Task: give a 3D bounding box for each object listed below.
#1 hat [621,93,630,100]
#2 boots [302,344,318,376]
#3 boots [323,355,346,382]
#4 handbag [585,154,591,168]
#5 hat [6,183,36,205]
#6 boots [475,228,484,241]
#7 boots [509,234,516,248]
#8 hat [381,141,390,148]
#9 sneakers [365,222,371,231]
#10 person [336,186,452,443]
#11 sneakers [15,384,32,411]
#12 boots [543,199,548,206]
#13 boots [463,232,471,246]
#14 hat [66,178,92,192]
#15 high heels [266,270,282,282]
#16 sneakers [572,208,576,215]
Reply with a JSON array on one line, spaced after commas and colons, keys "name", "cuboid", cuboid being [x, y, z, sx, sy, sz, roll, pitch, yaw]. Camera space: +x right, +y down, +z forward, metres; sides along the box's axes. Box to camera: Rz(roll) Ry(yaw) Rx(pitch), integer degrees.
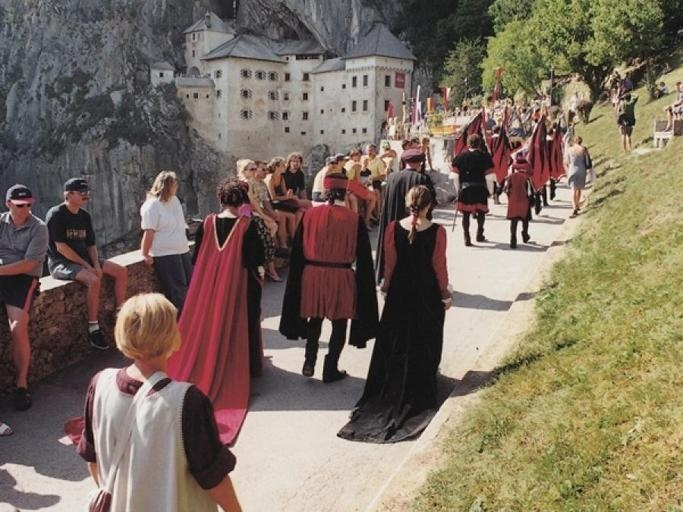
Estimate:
[{"name": "hat", "cuboid": [7.741, -4.366, 22.212, 0.226, 0.163, 0.386, 1, 11, 20]}, {"name": "boots", "cuboid": [-0.395, 1.279, 10.489, 0.143, 0.376, 0.470, 1, 4, 4]}, {"name": "boots", "cuboid": [-0.109, 1.411, 10.258, 0.163, 0.372, 0.387, 6, 13, 44]}, {"name": "handbag", "cuboid": [5.284, -2.031, 17.491, 0.093, 0.358, 0.953, 1, 11, 19]}, {"name": "hat", "cuboid": [-3.870, -0.718, 9.768, 0.303, 0.286, 0.631, -6, 11, -22]}, {"name": "boots", "cuboid": [2.680, -0.428, 15.795, 0.179, 0.253, 0.471, 0, 10, 10]}, {"name": "boots", "cuboid": [3.171, -0.273, 15.113, 0.122, 0.240, 0.272, 0, 10, 12]}, {"name": "hat", "cuboid": [0.907, -2.346, 17.051, 0.191, 0.133, 0.283, 0, 5, 4]}, {"name": "sneakers", "cuboid": [0.532, -0.577, 16.358, 0.101, 0.163, 0.334, -1, -2, -16]}, {"name": "person", "cuboid": [0.683, 0.613, 9.391, 1.225, 2.749, 0.768, -6, 9, -26]}, {"name": "sneakers", "cuboid": [-3.728, 1.653, 9.499, 0.195, 0.255, 0.205, -6, 10, -26]}, {"name": "boots", "cuboid": [4.732, -1.245, 18.977, 0.104, 0.213, 0.114, -3, 1, -5]}, {"name": "boots", "cuboid": [2.369, -0.323, 15.410, 0.138, 0.258, 0.329, 0, 10, 9]}, {"name": "hat", "cuboid": [-3.323, -0.893, 10.256, 0.269, 0.175, 0.224, -3, 5, 18]}, {"name": "high heels", "cuboid": [-1.153, 0.345, 13.404, 0.303, 0.137, 0.125, 13, 15, 36]}, {"name": "sneakers", "cuboid": [4.818, -0.925, 16.989, 0.106, 0.146, 0.122, 2, 13, 32]}]
